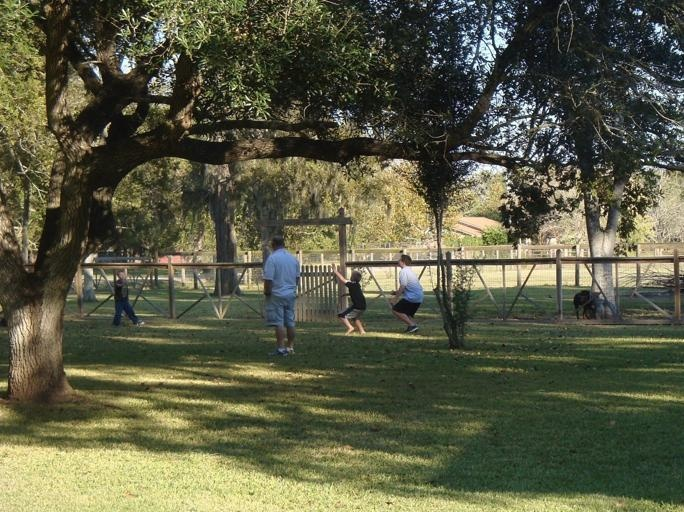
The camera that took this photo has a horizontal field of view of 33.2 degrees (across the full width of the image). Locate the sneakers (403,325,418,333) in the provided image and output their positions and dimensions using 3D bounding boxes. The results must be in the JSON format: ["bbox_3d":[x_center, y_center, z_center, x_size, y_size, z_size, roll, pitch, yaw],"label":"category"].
[{"bbox_3d":[1.587,1.665,25.823,0.333,0.117,0.139,-6,5,-38],"label":"sneakers"}]

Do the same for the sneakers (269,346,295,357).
[{"bbox_3d":[-1.142,1.901,22.541,0.451,0.187,0.173,2,-5,-10],"label":"sneakers"}]

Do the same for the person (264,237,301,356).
[{"bbox_3d":[-1.178,0.945,22.473,0.583,2.070,0.882,4,13,16],"label":"person"}]
